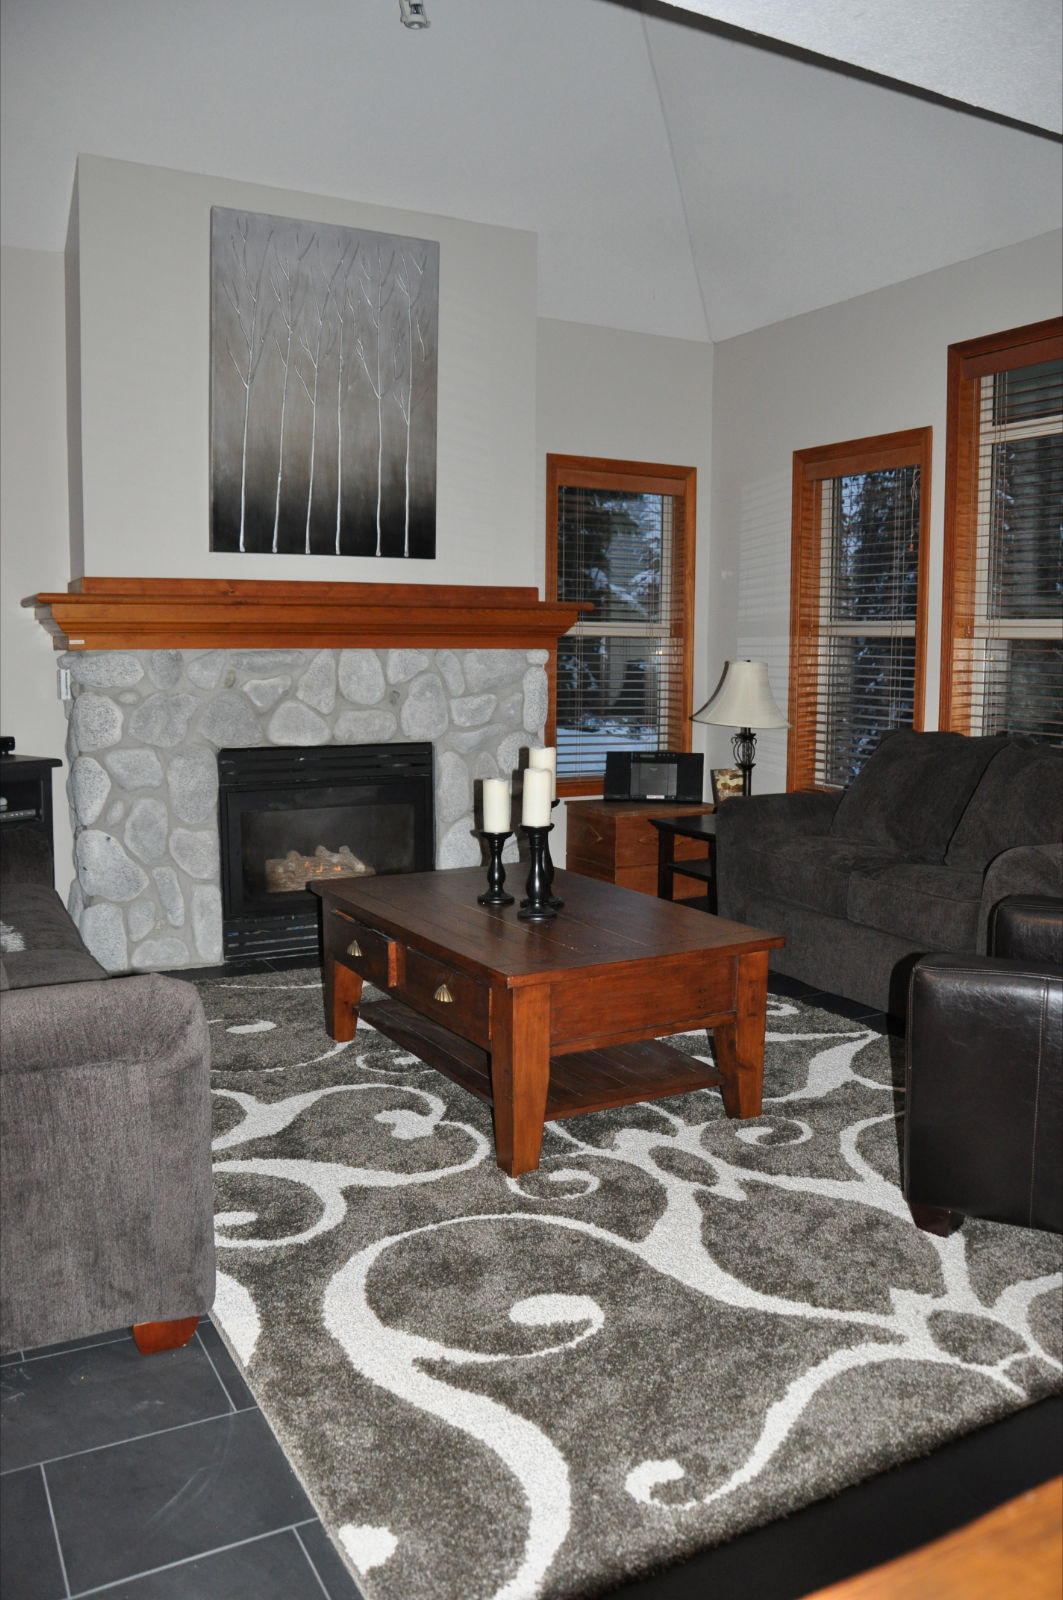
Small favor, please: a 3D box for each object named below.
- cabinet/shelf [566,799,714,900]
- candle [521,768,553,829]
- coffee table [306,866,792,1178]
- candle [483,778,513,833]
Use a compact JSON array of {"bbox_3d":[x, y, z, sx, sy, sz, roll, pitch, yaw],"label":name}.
[{"bbox_3d":[0.506,0.185,5.336,0.567,0.573,0.424,-3,7,-25],"label":"cabinet/shelf"},{"bbox_3d":[0.022,0.001,2.877,0.078,0.147,0.036,-2,4,-27],"label":"candle"},{"bbox_3d":[0.130,0.435,2.719,0.601,0.375,0.901,-6,12,-31],"label":"coffee table"},{"bbox_3d":[-0.081,0.023,2.940,0.062,0.141,0.048,-2,4,-23],"label":"candle"}]
